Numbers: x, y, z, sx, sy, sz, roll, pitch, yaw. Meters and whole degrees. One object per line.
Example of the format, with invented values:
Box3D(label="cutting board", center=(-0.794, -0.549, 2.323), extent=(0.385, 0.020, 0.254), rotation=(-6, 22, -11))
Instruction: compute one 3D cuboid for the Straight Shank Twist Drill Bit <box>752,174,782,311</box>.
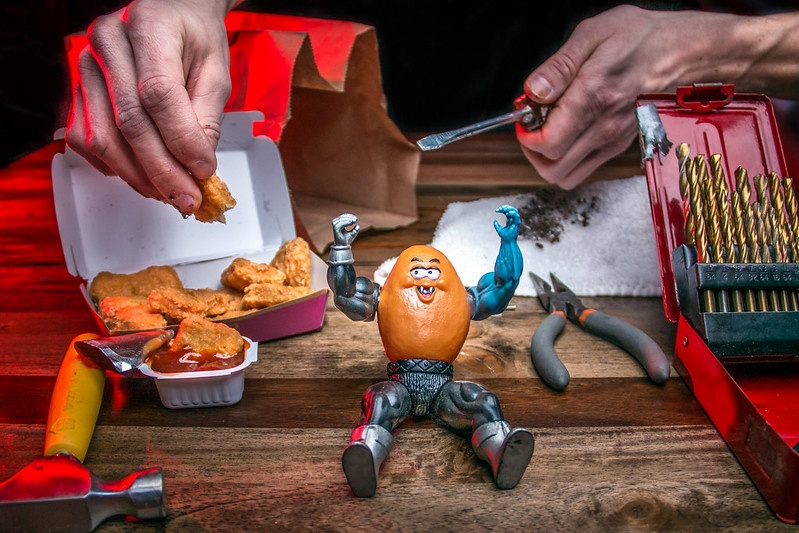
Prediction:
Box3D(label="Straight Shank Twist Drill Bit", center=(0.773, -0.048, 1.526), extent=(0.046, 0.047, 0.299), rotation=(-3, 90, 3))

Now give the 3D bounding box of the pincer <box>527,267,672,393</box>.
Box3D(label="pincer", center=(0.412, 0.130, 1.691), extent=(0.294, 0.064, 0.529), rotation=(-4, 22, -3))
